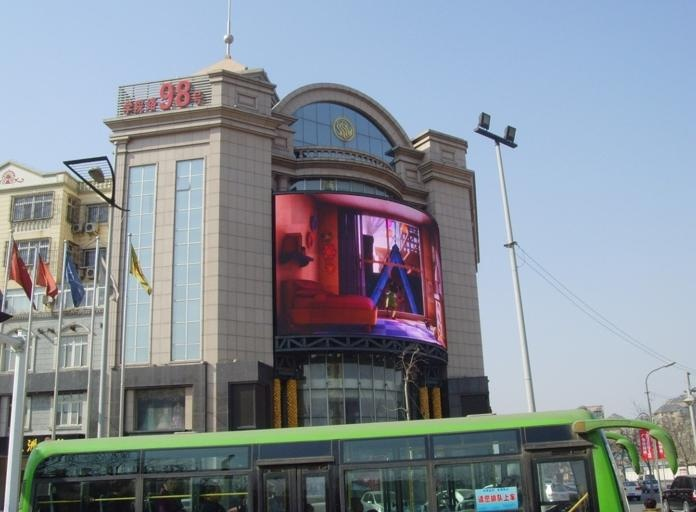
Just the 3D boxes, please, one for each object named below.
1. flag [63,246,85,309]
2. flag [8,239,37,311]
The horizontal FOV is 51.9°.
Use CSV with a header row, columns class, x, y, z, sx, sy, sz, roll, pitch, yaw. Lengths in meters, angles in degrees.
class,x,y,z,sx,sy,sz,roll,pitch,yaw
flag,-14.310,1.179,37.057,0.563,1.018,3.418,-33,-8,-29
flag,-15.140,0.794,33.027,1.059,3.401,4.934,4,-22,-23
